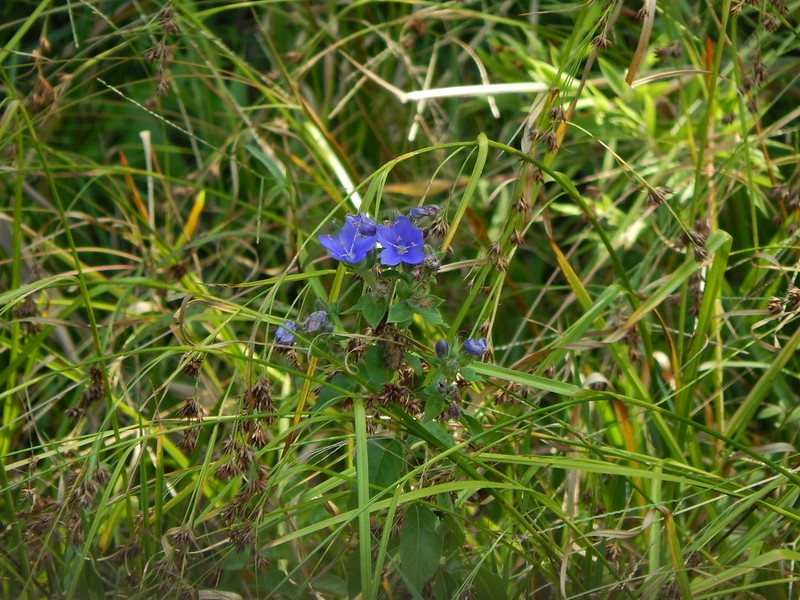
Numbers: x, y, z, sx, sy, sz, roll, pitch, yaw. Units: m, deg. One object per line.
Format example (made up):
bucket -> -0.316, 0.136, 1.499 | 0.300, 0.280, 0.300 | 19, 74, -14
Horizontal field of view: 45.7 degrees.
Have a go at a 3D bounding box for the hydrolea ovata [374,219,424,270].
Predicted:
hydrolea ovata -> -0.001, -0.162, 2.673 | 0.132, 0.129, 0.161 | -2, 62, 0

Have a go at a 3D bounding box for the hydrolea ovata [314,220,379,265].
hydrolea ovata -> -0.138, -0.161, 2.717 | 0.165, 0.166, 0.091 | -5, 70, 8
